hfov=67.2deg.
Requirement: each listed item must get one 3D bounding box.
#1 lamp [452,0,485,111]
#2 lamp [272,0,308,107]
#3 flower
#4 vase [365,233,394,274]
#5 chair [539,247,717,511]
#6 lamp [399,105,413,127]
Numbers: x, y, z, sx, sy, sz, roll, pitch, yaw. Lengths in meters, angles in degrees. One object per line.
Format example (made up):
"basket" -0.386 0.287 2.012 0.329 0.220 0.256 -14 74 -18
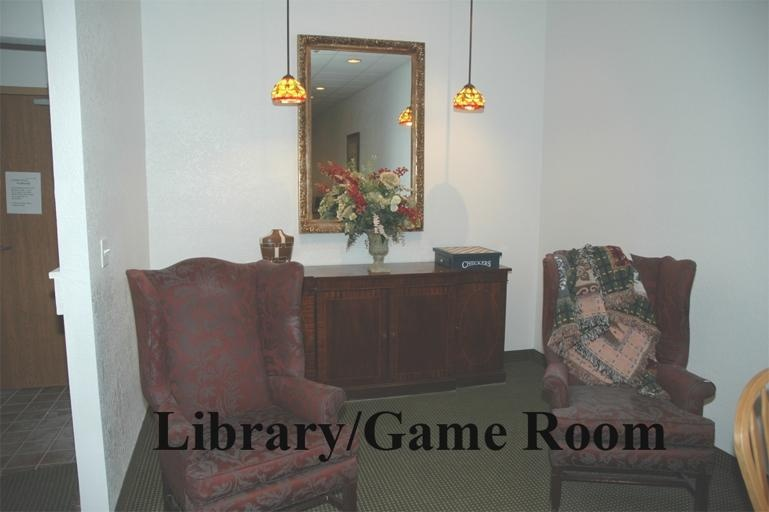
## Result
"lamp" 0.748 -1.805 5.180 0.313 1.086 0.608 -1 3 9
"lamp" -0.798 -1.727 4.830 0.276 0.952 0.532 -1 3 -7
"flower" -0.161 -0.444 5.273 0.829 0.728 0.783 5 -25 -3
"vase" -0.049 -0.040 5.068 0.302 0.341 0.289 0 2 -12
"chair" 1.705 0.727 4.434 1.506 2.110 1.561 0 -3 9
"lamp" 0.177 -1.291 5.406 0.171 0.160 0.164 -1 1 -18
